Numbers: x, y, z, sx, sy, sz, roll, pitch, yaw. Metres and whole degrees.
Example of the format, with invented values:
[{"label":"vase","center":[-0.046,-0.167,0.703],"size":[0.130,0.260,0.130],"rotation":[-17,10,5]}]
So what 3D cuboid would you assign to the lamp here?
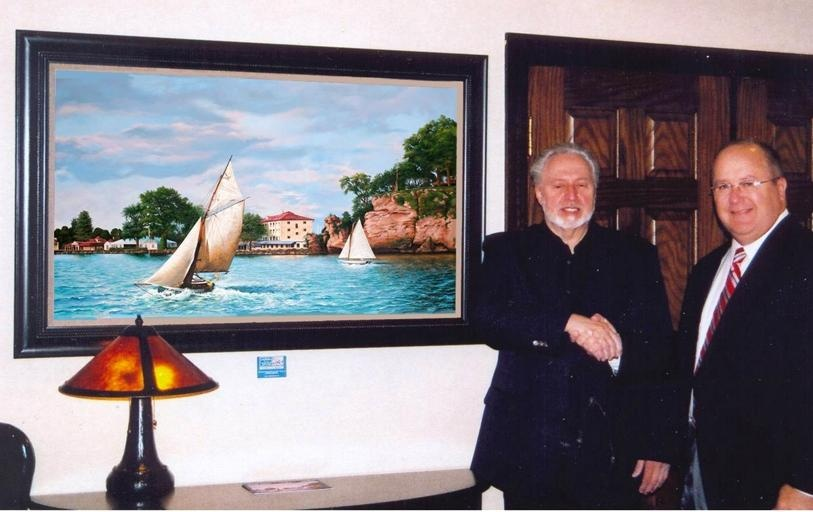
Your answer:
[{"label":"lamp","center":[-1.055,0.715,3.149],"size":[0.838,0.898,0.770],"rotation":[2,1,1]}]

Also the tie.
[{"label":"tie","center":[1.403,0.184,3.007],"size":[0.039,0.773,0.122],"rotation":[14,-4,45]}]
